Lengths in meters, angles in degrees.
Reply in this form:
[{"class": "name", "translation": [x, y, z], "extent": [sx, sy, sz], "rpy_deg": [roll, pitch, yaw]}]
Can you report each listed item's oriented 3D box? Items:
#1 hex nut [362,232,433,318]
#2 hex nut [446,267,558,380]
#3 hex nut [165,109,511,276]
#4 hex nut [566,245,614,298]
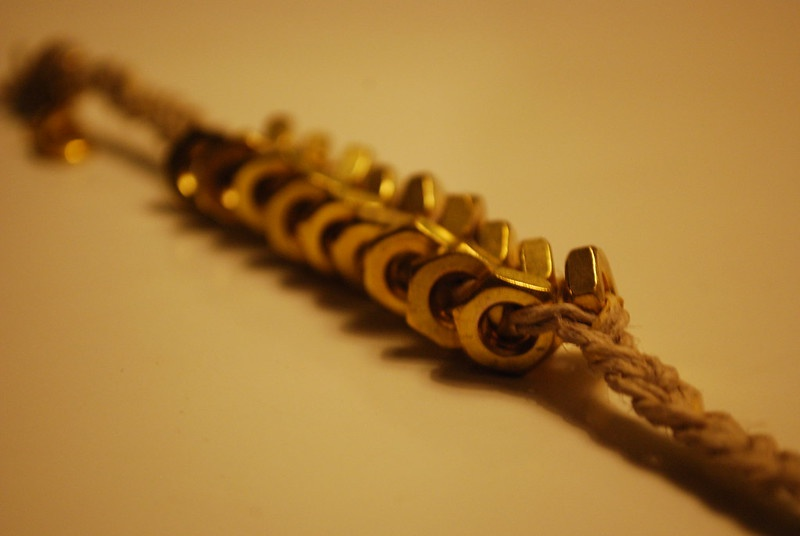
[{"class": "hex nut", "translation": [-0.006, -0.003, 0.807], "extent": [0.063, 0.017, 0.067], "rpy_deg": [2, -70, 13]}, {"class": "hex nut", "translation": [0.086, 0.046, 0.785], "extent": [0.081, 0.029, 0.089], "rpy_deg": [-12, -69, -8]}, {"class": "hex nut", "translation": [-0.073, -0.050, 0.824], "extent": [0.200, 0.051, 0.066], "rpy_deg": [27, -63, 23]}, {"class": "hex nut", "translation": [0.151, 0.008, 0.790], "extent": [0.032, 0.055, 0.033], "rpy_deg": [0, -34, 3]}]
